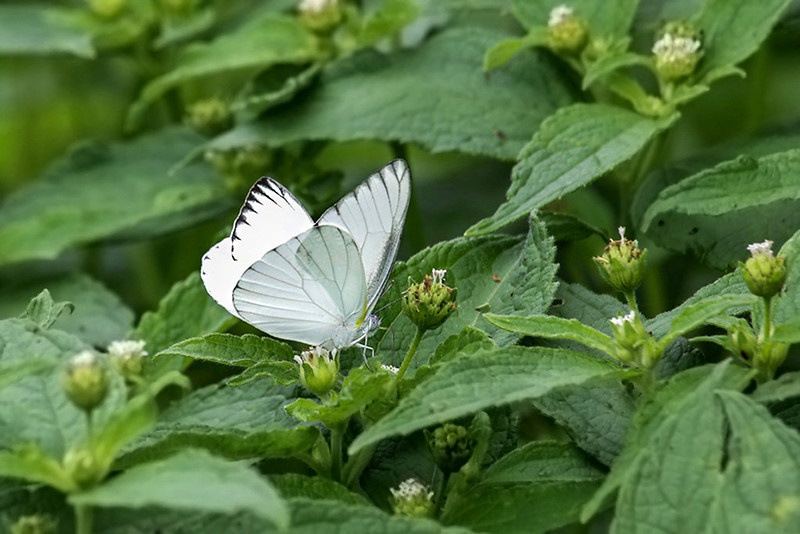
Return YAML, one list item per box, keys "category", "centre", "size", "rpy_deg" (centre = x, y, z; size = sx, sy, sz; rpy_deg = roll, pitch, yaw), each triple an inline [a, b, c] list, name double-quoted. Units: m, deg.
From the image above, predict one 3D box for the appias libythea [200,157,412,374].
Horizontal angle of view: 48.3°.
- category: "appias libythea"
  centre: [-0.150, 0.005, 1.341]
  size: [0.259, 0.260, 0.277]
  rpy_deg: [6, -3, -15]
